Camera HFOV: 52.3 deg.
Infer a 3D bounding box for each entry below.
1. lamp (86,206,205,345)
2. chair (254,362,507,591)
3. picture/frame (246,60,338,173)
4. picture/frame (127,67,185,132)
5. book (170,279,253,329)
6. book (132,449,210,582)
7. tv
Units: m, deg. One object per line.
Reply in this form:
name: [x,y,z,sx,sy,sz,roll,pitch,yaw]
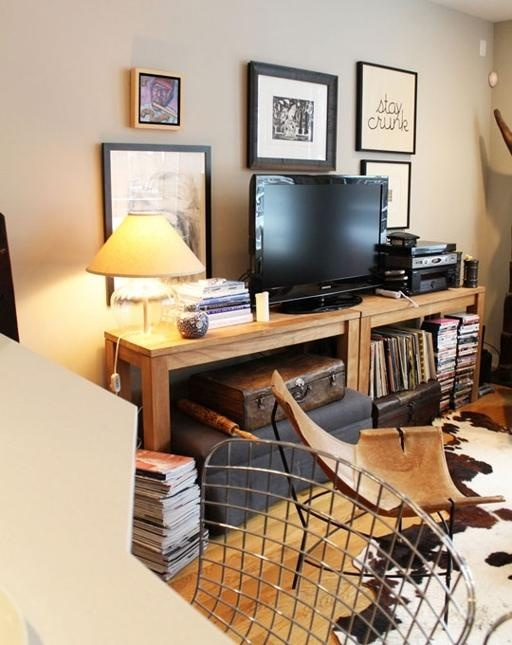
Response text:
lamp: [-0.404,-0.271,2.045,0.324,0.412,0.316,9,13,39]
chair: [0.374,0.492,1.730,0.739,0.400,0.506,3,9,-16]
picture/frame: [0.176,-1.132,2.836,0.677,0.578,0.054,-9,15,-41]
picture/frame: [-0.457,-0.996,2.320,0.031,0.293,0.318,9,10,44]
book: [-0.204,-0.109,2.403,0.263,0.155,0.261,-16,21,-42]
book: [-0.326,0.707,1.892,0.252,0.396,0.208,-3,14,-8]
tv: [0.307,-0.427,2.792,0.210,0.529,0.759,13,19,43]
